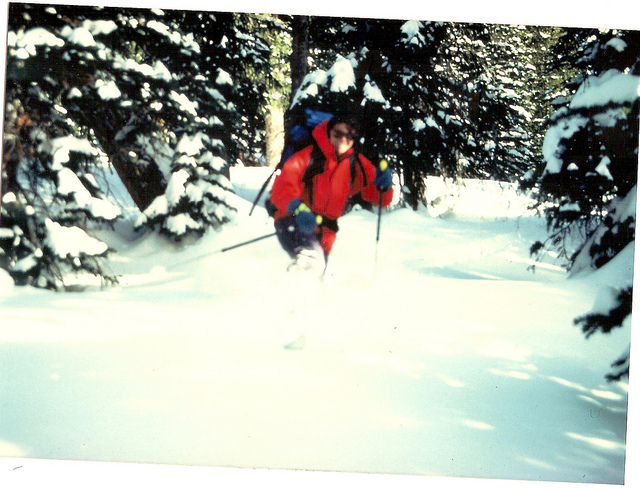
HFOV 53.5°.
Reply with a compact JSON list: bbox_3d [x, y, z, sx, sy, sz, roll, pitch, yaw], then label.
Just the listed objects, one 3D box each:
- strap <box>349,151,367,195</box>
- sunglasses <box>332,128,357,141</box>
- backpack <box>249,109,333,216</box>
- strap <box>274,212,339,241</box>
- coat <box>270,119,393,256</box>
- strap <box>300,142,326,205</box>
[{"bbox_3d":[0.280,-0.541,4.794,0.141,0.231,0.051,13,4,17],"label":"strap"},{"bbox_3d":[0.182,-0.813,4.716,0.176,0.075,0.013,7,19,3],"label":"sunglasses"},{"bbox_3d":[-0.192,-0.666,4.728,0.518,0.642,0.111,-6,21,-26],"label":"backpack"},{"bbox_3d":[-0.087,-0.165,4.735,0.321,0.257,0.343,-1,13,-30],"label":"strap"},{"bbox_3d":[0.047,-0.450,4.820,0.615,1.247,0.709,1,10,-20],"label":"coat"},{"bbox_3d":[-0.047,-0.533,4.789,0.139,0.473,0.167,-9,11,-32],"label":"strap"}]
